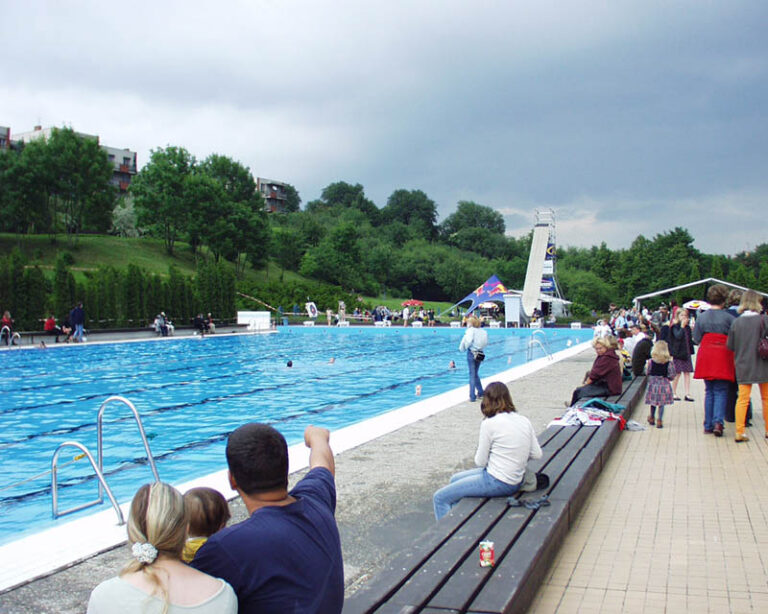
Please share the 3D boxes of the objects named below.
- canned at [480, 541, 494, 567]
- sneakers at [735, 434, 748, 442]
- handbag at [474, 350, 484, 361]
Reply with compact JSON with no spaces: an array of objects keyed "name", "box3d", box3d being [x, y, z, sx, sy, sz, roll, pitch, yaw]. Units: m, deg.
[{"name":"canned","box3d":[0.722,1.728,4.336,0.127,0.203,0.107,0,6,9]},{"name":"sneakers","box3d":[5.151,1.887,8.875,0.306,0.096,0.093,-2,0,-23]},{"name":"handbag","box3d":[2.103,1.084,13.585,0.145,0.208,0.278,-4,2,-4]}]
